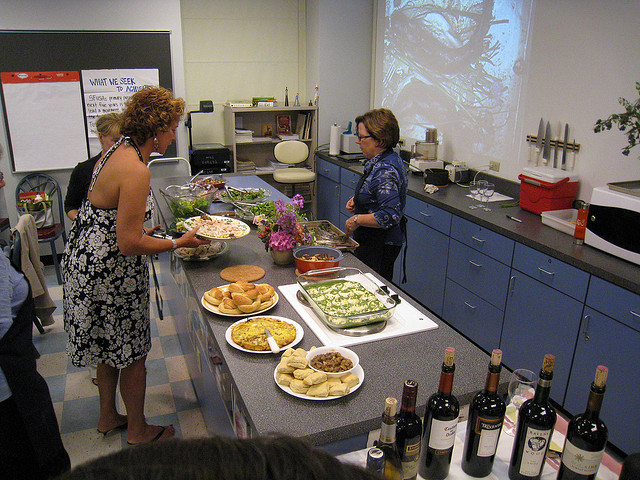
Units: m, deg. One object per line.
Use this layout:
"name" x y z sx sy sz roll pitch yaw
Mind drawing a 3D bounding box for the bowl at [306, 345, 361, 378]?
"bowl" 0.044 0.456 1.632 0.192 0.066 0.160 -2 19 -2

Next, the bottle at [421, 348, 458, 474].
"bottle" 0.333 0.474 1.227 0.076 0.433 0.074 -1 18 0

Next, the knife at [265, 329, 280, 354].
"knife" -0.189 0.403 1.795 0.024 0.018 0.146 -8 26 -13

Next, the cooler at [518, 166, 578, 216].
"cooler" 1.741 -0.371 3.437 0.258 0.319 0.359 -5 20 -14

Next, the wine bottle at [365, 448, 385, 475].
"wine bottle" 0.138 0.544 1.098 0.041 0.083 0.068 2 18 9

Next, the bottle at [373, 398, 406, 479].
"bottle" 0.173 0.505 1.113 0.072 0.253 0.086 2 18 9

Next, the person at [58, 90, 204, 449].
"person" -1.002 0.265 2.316 0.759 1.967 0.375 -7 19 -16

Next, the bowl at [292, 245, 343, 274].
"bowl" -0.015 0.108 2.391 0.270 0.114 0.202 -2 19 -2

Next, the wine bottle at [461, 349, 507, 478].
"wine bottle" 0.487 0.533 1.315 0.102 0.283 0.161 7 20 24

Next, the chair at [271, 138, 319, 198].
"chair" -0.339 -0.770 5.715 0.510 0.893 0.570 2 24 2

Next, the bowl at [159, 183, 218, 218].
"bowl" -0.913 -0.238 3.056 0.321 0.164 0.430 -5 5 38

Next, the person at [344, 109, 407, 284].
"person" 0.396 -0.274 3.096 0.398 1.199 0.397 3 18 12

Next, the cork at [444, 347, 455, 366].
"cork" 0.332 0.299 1.145 0.021 0.048 0.038 1 18 7

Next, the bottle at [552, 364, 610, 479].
"bottle" 0.697 0.475 1.151 0.090 0.385 0.078 -11 20 -29
